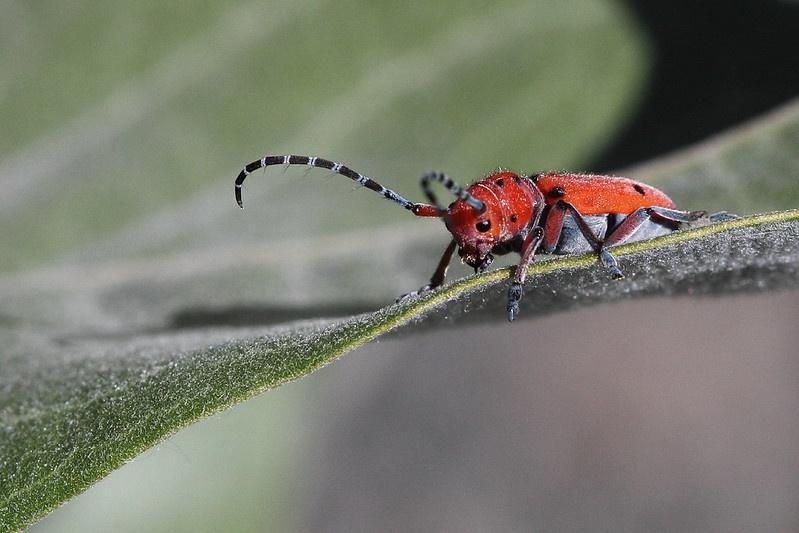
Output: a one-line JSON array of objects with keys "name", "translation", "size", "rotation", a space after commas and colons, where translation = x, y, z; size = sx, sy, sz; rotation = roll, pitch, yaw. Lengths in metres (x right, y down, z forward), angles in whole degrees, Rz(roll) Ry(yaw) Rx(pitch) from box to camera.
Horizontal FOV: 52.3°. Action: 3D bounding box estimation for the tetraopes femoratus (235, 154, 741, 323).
[{"name": "tetraopes femoratus", "translation": [0.779, -0.301, 5.040], "size": [2.597, 1.340, 0.912], "rotation": [-2, 76, 10]}]
